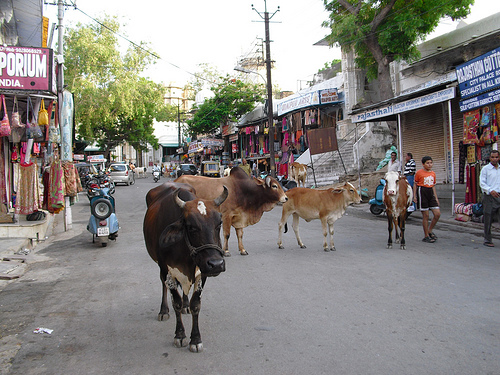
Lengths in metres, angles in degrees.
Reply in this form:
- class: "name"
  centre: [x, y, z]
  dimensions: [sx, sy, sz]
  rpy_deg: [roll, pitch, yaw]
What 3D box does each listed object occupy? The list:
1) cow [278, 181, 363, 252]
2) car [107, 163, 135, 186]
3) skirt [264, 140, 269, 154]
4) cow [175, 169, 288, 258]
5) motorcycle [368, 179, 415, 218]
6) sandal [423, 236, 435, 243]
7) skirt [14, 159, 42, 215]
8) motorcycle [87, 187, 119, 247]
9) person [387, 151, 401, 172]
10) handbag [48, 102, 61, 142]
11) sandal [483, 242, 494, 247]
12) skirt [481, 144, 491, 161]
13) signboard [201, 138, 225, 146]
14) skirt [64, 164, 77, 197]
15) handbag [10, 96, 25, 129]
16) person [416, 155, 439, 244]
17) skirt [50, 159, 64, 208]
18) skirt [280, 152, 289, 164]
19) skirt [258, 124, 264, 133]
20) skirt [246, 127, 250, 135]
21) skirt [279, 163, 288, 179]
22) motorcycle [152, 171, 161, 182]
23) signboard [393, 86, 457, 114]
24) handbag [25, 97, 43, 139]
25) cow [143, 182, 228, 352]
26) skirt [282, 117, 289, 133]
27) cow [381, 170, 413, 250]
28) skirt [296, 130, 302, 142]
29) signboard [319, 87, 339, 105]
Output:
- class: "cow"
  centre: [1.588, 0.684, 9.923]
  dimensions: [1.927, 1.744, 0.749]
  rpy_deg: [1, 3, 28]
- class: "car"
  centre: [-9.937, -0.901, 32.407]
  dimensions: [1.659, 1.678, 3.163]
  rpy_deg: [0, 7, 0]
- class: "skirt"
  centre: [1.420, -3.569, 36.918]
  dimensions: [0.137, 1.041, 0.698]
  rpy_deg: [-2, 5, -16]
- class: "cow"
  centre: [-0.578, 0.561, 9.588]
  dimensions: [2.683, 2.139, 0.876]
  rpy_deg: [2, 8, 9]
- class: "motorcycle"
  centre: [4.924, 0.336, 14.752]
  dimensions: [1.650, 1.211, 0.798]
  rpy_deg: [-1, 3, -19]
- class: "sandal"
  centre: [4.337, 1.260, 10.131]
  dimensions: [0.181, 0.113, 0.249]
  rpy_deg: [-2, 5, -14]
- class: "skirt"
  centre: [-6.024, 0.039, 11.384]
  dimensions: [0.641, 1.452, 0.408]
  rpy_deg: [-1, 5, -2]
- class: "motorcycle"
  centre: [-3.782, 0.761, 10.813]
  dimensions: [0.709, 1.422, 1.086]
  rpy_deg: [-3, 5, -22]
- class: "person"
  centre: [5.437, -0.981, 15.708]
  dimensions: [0.426, 0.746, 0.822]
  rpy_deg: [1, 5, 21]
- class: "handbag"
  centre: [-5.921, -1.993, 12.670]
  dimensions: [0.314, 1.249, 1.363]
  rpy_deg: [-3, 5, -25]
- class: "sandal"
  centre: [5.369, 1.281, 9.417]
  dimensions: [0.166, 0.076, 0.145]
  rpy_deg: [0, 5, 19]
- class: "skirt"
  centre: [6.932, -1.044, 12.294]
  dimensions: [0.202, 0.456, 0.502]
  rpy_deg: [1, 5, 19]
- class: "signboard"
  centre: [-4.011, -4.994, 46.611]
  dimensions: [2.500, 0.797, 1.005]
  rpy_deg: [-2, 5, -12]
- class: "skirt"
  centre: [-5.414, -0.213, 12.710]
  dimensions: [0.311, 1.005, 0.640]
  rpy_deg: [-3, 5, -20]
- class: "handbag"
  centre: [-6.552, -2.108, 11.824]
  dimensions: [0.357, 0.925, 1.840]
  rpy_deg: [-4, 5, -29]
- class: "person"
  centre: [4.410, 0.257, 10.412]
  dimensions: [0.506, 2.057, 0.817]
  rpy_deg: [1, 5, 17]
- class: "skirt"
  centre: [-5.449, -0.104, 11.831]
  dimensions: [0.335, 1.326, 0.538]
  rpy_deg: [-3, 5, -27]
- class: "skirt"
  centre: [2.703, -2.313, 32.054]
  dimensions: [0.363, 0.751, 1.299]
  rpy_deg: [-2, 5, -13]
- class: "skirt"
  centre: [1.034, -5.105, 35.927]
  dimensions: [0.248, 0.683, 1.518]
  rpy_deg: [-2, 5, -7]
- class: "skirt"
  centre: [-0.163, -5.216, 38.139]
  dimensions: [0.328, 0.538, 0.772]
  rpy_deg: [-1, 5, 1]
- class: "skirt"
  centre: [2.550, -1.114, 29.253]
  dimensions: [0.903, 1.270, 0.997]
  rpy_deg: [0, 3, -3]
- class: "motorcycle"
  centre: [-8.514, -1.052, 38.334]
  dimensions: [0.620, 0.872, 1.362]
  rpy_deg: [2, -2, -8]
- class: "signboard"
  centre: [6.037, -3.018, 14.641]
  dimensions: [0.213, 0.583, 2.898]
  rpy_deg: [-2, 5, -17]
- class: "handbag"
  centre: [-5.949, -1.918, 11.547]
  dimensions: [0.383, 1.134, 0.529]
  rpy_deg: [-4, 5, -30]
- class: "cow"
  centre: [-0.930, 1.039, 5.719]
  dimensions: [0.872, 2.128, 3.163]
  rpy_deg: [-2, 1, -20]
- class: "skirt"
  centre: [2.683, -4.686, 31.187]
  dimensions: [0.392, 1.064, 0.633]
  rpy_deg: [-3, 5, -28]
- class: "cow"
  centre: [3.705, 0.548, 10.520]
  dimensions: [0.570, 1.833, 2.420]
  rpy_deg: [-1, 0, 26]
- class: "skirt"
  centre: [3.468, -3.681, 29.676]
  dimensions: [0.521, 0.892, 0.441]
  rpy_deg: [-1, -5, 21]
- class: "signboard"
  centre: [5.011, -5.866, 26.463]
  dimensions: [1.322, 0.880, 0.981]
  rpy_deg: [-7, 1, -1]
